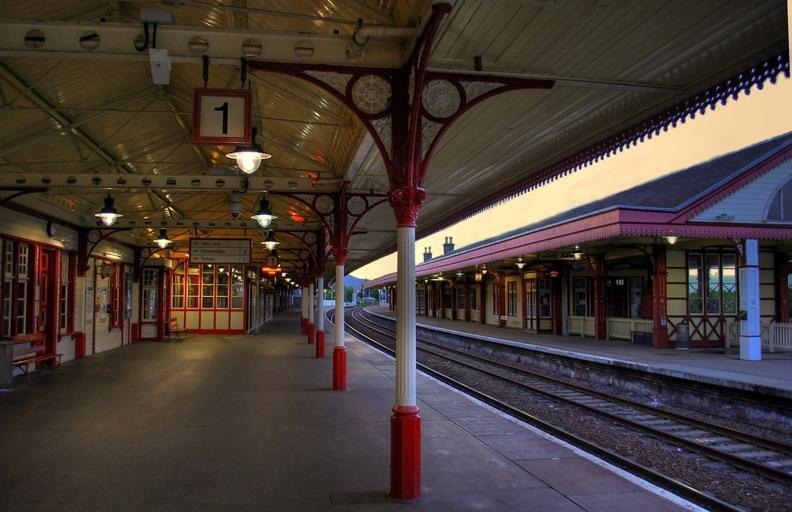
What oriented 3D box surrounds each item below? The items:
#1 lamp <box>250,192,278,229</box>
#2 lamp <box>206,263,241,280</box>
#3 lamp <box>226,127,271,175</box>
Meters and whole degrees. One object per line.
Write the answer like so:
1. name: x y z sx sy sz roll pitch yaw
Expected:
1. lamp: -3.170 -1.156 16.374 0.616 0.879 0.578 -1 5 -29
2. lamp: -8.029 0.776 31.912 1.617 0.707 0.401 1 -6 -6
3. lamp: -2.612 -1.849 11.791 0.892 0.890 0.859 -2 19 -19
